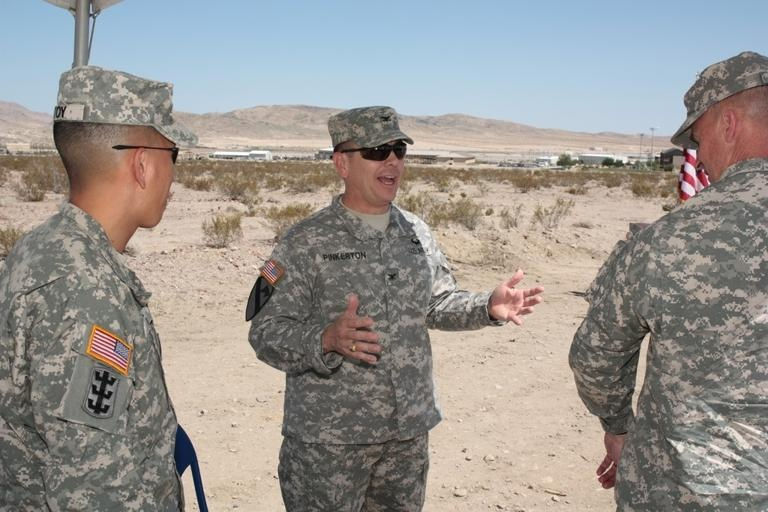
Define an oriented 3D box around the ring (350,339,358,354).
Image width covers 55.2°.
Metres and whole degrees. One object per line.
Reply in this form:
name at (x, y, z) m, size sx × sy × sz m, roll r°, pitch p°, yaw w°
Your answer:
ring at (-0.136, 0.407, 3.311) m, size 0.028 × 0.046 × 0.038 m, roll -7°, pitch 1°, yaw 14°
